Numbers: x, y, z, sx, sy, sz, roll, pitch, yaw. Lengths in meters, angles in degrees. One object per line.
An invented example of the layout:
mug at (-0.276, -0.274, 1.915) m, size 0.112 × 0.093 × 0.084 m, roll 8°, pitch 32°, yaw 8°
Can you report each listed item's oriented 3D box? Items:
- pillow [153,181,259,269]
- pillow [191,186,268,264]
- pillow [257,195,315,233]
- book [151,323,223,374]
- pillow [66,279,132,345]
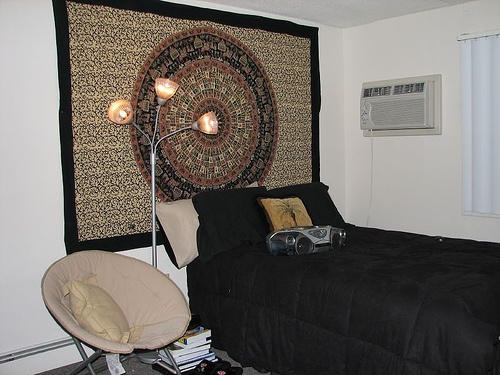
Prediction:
pillow at (-0.431, 0.472, 3.577) m, size 0.822 × 0.235 × 0.489 m, roll -6°, pitch 31°, yaw -46°
pillow at (-0.167, 0.328, 3.401) m, size 0.747 × 0.568 × 0.162 m, roll -3°, pitch -15°, yaw -30°
pillow at (0.339, 0.252, 3.582) m, size 0.468 × 0.151 × 0.504 m, roll -8°, pitch 42°, yaw -20°
book at (-0.460, 1.221, 2.947) m, size 0.416 × 0.279 × 0.286 m, roll -9°, pitch 9°, yaw -43°
pillow at (-1.001, 0.804, 2.571) m, size 0.337 × 0.437 × 0.308 m, roll -12°, pitch 9°, yaw -29°
